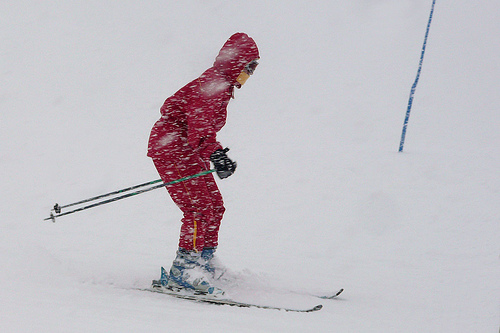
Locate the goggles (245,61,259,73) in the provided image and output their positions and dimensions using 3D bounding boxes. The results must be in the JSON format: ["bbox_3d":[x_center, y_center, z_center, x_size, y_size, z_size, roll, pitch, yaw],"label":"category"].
[{"bbox_3d":[0.002,-1.166,10.048,0.118,0.151,0.194,20,-17,-5],"label":"goggles"}]
